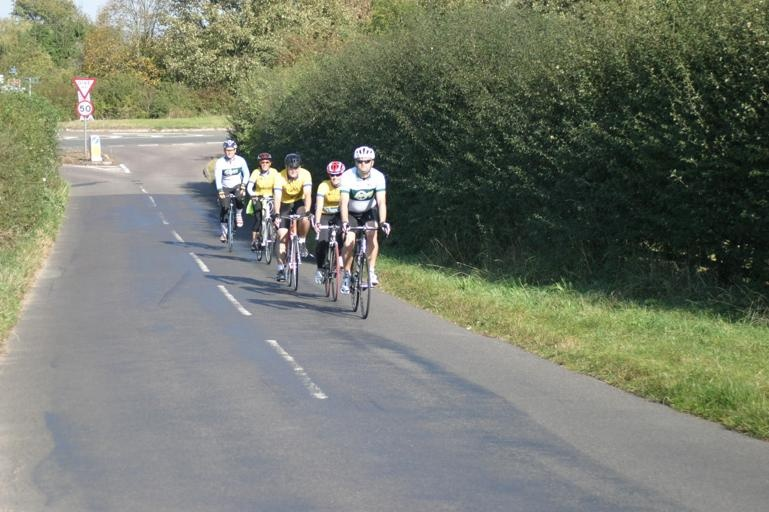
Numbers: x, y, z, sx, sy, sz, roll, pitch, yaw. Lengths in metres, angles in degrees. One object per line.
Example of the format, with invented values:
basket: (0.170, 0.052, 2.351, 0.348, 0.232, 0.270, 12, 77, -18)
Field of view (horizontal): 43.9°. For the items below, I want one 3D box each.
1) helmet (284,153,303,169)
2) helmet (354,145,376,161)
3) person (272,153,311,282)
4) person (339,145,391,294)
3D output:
helmet: (-1.861, -1.906, 19.504, 0.360, 0.224, 0.546, -2, 21, -15)
helmet: (-0.334, -1.815, 16.868, 0.309, 0.239, 0.461, 2, 13, 6)
person: (-1.878, -0.735, 19.725, 0.739, 2.777, 1.494, 0, 12, -5)
person: (-0.371, -0.548, 17.283, 0.834, 2.901, 1.402, 0, 12, -2)
